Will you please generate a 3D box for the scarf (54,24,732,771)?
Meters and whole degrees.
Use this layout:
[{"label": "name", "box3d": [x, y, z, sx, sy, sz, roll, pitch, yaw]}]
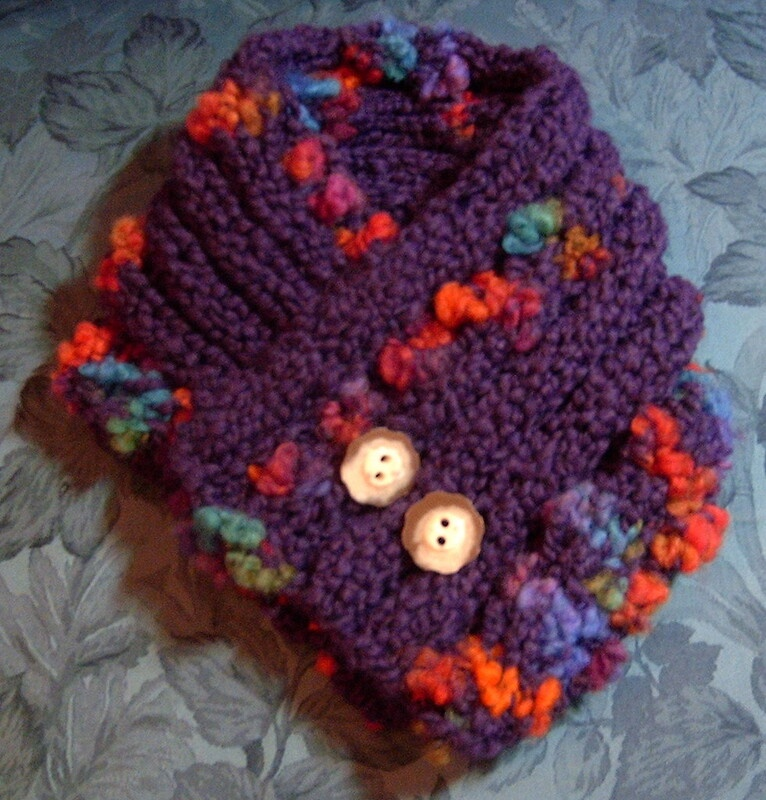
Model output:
[{"label": "scarf", "box3d": [0.050, -0.040, 1.198, 0.555, 0.250, 0.647, -40, 74, -13]}]
